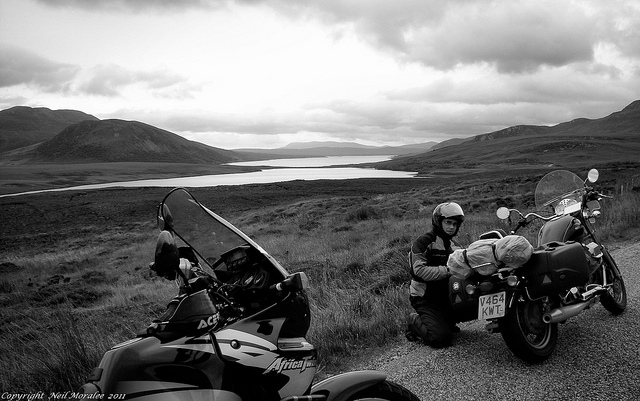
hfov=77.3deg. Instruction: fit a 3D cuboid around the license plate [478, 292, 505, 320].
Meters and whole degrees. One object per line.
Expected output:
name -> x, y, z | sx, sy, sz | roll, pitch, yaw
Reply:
license plate -> 2.591, 1.601, 6.063 | 0.394, 0.350, 0.053 | -13, -23, 38
